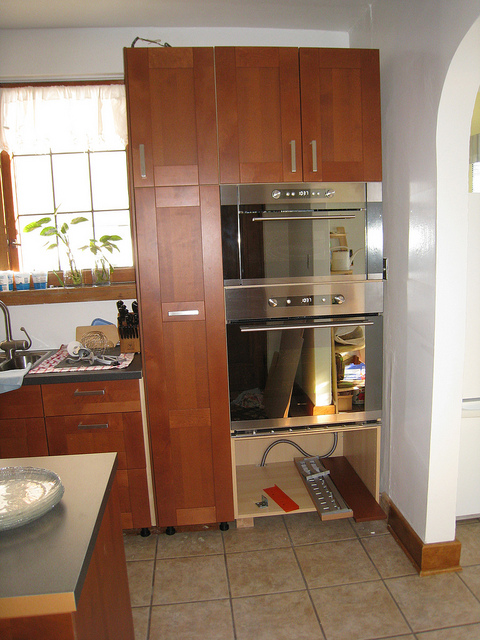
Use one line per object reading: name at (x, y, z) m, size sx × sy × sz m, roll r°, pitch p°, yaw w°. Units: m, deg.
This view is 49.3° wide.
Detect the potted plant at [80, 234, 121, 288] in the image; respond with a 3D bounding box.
potted plant at (-0.769, -0.317, 2.855) m, size 0.209 × 0.298 × 0.208 m, roll 1°, pitch -2°, yaw -7°

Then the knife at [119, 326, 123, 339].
knife at (-0.587, 0.061, 2.583) m, size 0.019 × 0.056 × 0.006 m, roll 2°, pitch 8°, yaw 24°

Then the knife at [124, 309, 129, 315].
knife at (-0.570, -0.045, 2.618) m, size 0.013 × 0.028 × 0.017 m, roll 4°, pitch 1°, yaw -3°

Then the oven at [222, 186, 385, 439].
oven at (0.311, -0.159, 2.569) m, size 0.706 × 1.244 × 0.539 m, roll -3°, pitch 29°, yaw 3°

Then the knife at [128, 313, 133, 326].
knife at (-0.540, -0.001, 2.580) m, size 0.021 × 0.055 × 0.017 m, roll -3°, pitch 8°, yaw -9°

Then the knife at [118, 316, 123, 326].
knife at (-0.593, 0.002, 2.584) m, size 0.024 × 0.053 × 0.026 m, roll 0°, pitch 10°, yaw -7°

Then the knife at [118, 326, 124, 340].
knife at (-0.587, 0.062, 2.594) m, size 0.012 × 0.070 × 0.016 m, roll -5°, pitch 14°, yaw 24°

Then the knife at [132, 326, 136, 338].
knife at (-0.526, 0.060, 2.580) m, size 0.008 × 0.050 × 0.010 m, roll -7°, pitch 12°, yaw 0°

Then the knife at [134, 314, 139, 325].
knife at (-0.512, -0.011, 2.575) m, size 0.037 × 0.043 × 0.009 m, roll -2°, pitch 2°, yaw -21°

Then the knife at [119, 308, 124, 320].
knife at (-0.585, -0.031, 2.580) m, size 0.009 × 0.044 × 0.038 m, roll -7°, pitch 10°, yaw -26°

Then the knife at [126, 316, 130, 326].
knife at (-0.554, -0.001, 2.575) m, size 0.011 × 0.038 × 0.025 m, roll -1°, pitch 3°, yaw 7°

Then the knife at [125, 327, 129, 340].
knife at (-0.557, 0.061, 2.579) m, size 0.010 × 0.050 × 0.012 m, roll -13°, pitch 10°, yaw -19°

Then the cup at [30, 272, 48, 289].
cup at (-1.064, -0.215, 2.779) m, size 0.088 × 0.137 × 0.070 m, roll 0°, pitch 4°, yaw -4°
